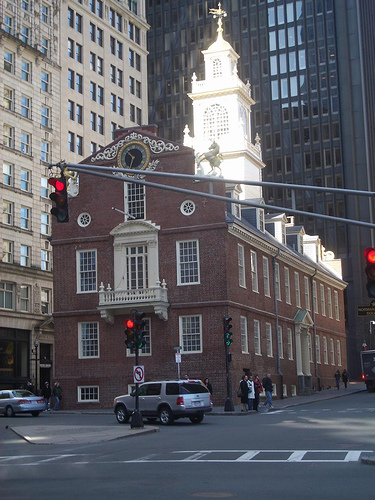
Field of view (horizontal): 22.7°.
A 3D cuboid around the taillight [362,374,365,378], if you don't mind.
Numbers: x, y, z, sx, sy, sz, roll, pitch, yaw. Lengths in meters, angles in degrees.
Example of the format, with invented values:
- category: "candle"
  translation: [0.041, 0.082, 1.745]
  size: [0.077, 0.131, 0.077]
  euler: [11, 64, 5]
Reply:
- category: "taillight"
  translation: [11.256, 7.943, 58.259]
  size: [0.117, 0.204, 0.213]
  euler: [-4, -10, 25]

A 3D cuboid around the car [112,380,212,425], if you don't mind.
- category: "car"
  translation: [-0.978, 5.264, 32.884]
  size: [3.150, 1.258, 1.645]
  euler: [-2, -8, 36]

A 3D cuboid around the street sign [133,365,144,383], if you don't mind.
- category: "street sign"
  translation: [-1.512, 3.875, 29.029]
  size: [0.265, 0.546, 0.795]
  euler: [-2, -11, -4]

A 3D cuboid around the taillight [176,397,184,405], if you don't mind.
- category: "taillight"
  translation: [-0.207, 5.116, 31.526]
  size: [0.309, 0.330, 0.038]
  euler: [-1, 4, 12]

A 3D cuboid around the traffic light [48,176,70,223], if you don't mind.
- category: "traffic light"
  translation: [-2.756, -1.091, 19.897]
  size: [0.387, 1.235, 1.080]
  euler: [-2, -11, -8]

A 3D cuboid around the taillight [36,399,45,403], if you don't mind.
- category: "taillight"
  translation: [-6.656, 6.796, 41.804]
  size: [0.295, 0.137, 0.374]
  euler: [1, -7, -19]

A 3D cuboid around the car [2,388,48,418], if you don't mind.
- category: "car"
  translation: [-7.720, 6.895, 41.954]
  size: [1.016, 0.736, 2.318]
  euler: [4, -6, -34]
